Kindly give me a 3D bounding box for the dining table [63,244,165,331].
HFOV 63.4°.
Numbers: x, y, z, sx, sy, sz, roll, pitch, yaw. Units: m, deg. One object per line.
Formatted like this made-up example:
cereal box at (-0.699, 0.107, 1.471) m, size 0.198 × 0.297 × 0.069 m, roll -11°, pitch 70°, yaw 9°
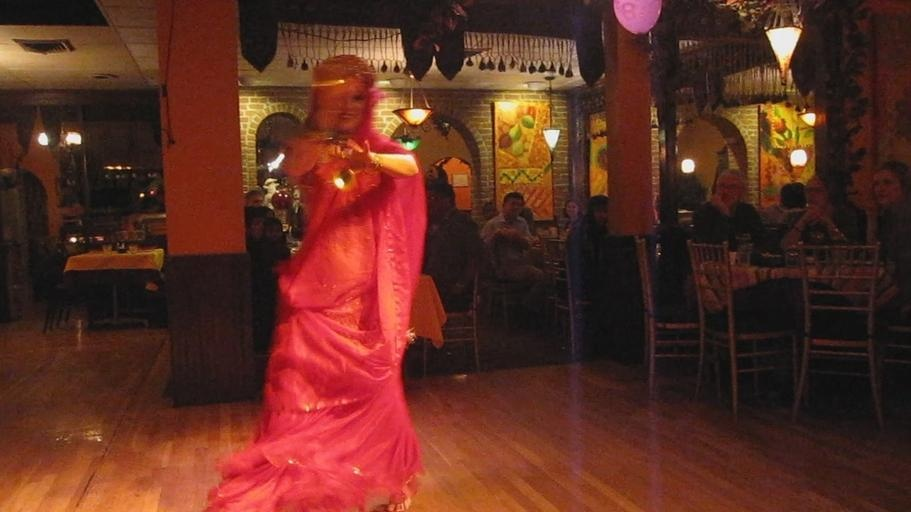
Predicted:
dining table at (-5.453, 0.440, 11.891) m, size 1.570 × 0.921 × 1.874 m, roll 1°, pitch 3°, yaw -5°
